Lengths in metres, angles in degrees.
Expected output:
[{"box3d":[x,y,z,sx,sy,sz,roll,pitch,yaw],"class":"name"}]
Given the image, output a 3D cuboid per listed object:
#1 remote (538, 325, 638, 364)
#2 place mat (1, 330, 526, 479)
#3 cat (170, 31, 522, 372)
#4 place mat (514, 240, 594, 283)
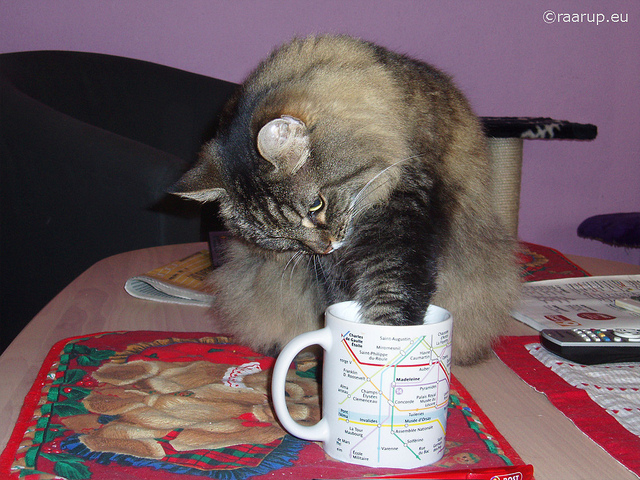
[{"box3d":[0.537,0.209,1.201,0.171,0.039,0.075,0,13,-1],"class":"remote"},{"box3d":[-0.124,0.284,1.098,0.816,0.070,0.460,2,12,-1],"class":"place mat"},{"box3d":[0.012,-0.106,1.496,0.655,0.642,0.700,0,17,23],"class":"cat"},{"box3d":[0.707,0.071,1.800,0.203,0.053,0.561,6,13,16],"class":"place mat"}]
